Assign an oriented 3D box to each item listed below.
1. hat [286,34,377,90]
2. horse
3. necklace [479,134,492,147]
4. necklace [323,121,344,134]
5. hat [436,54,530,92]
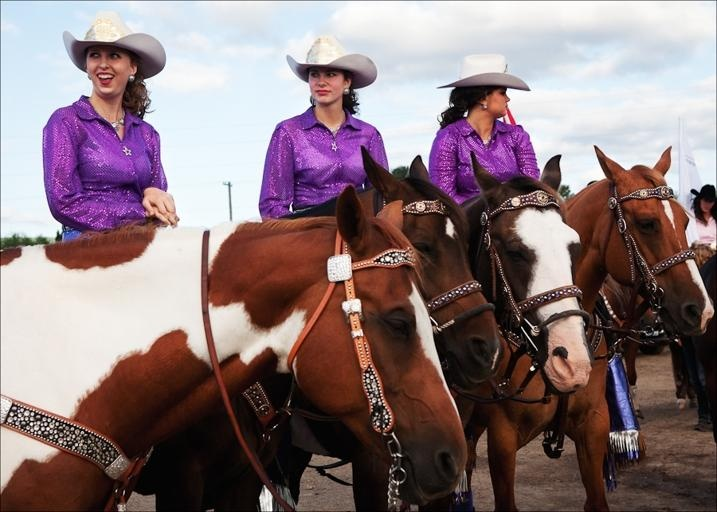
[{"bbox_3d":[-0.193,-1.405,5.305,0.617,0.247,0.387,-11,5,-5],"label":"hat"},{"bbox_3d":[-0.075,0.410,3.720,3.258,2.329,0.896,-8,-9,27],"label":"horse"},{"bbox_3d":[0.992,-0.913,5.699,0.085,0.086,0.022,2,-22,-11],"label":"necklace"},{"bbox_3d":[-0.181,-0.930,5.311,0.083,0.109,0.044,-8,41,-10],"label":"necklace"},{"bbox_3d":[1.011,-1.435,5.726,0.533,0.338,0.436,-11,5,-15],"label":"hat"}]
